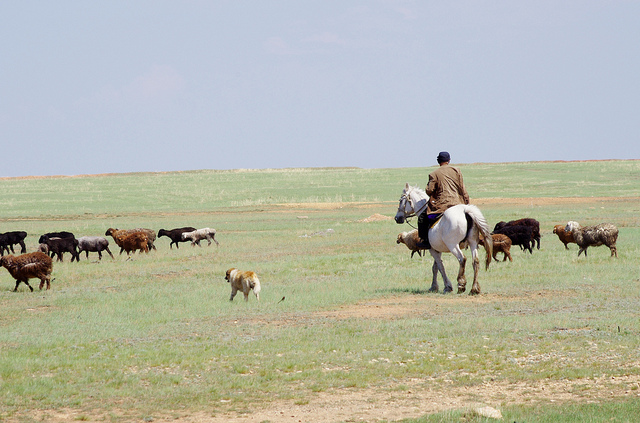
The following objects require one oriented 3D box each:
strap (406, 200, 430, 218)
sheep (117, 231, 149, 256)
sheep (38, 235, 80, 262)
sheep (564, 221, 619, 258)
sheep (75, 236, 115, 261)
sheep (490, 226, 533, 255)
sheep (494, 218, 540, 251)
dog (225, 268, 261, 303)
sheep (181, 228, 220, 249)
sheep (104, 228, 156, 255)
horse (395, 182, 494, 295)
[{"bbox_3d":[3.964,-0.078,45.865,0.886,0.118,0.182,-42,17,20],"label":"strap"},{"bbox_3d":[-9.449,1.694,56.357,1.369,1.199,1.601,-3,0,11],"label":"sheep"},{"bbox_3d":[-12.793,1.916,54.308,2.077,1.325,0.595,-1,-2,5],"label":"sheep"},{"bbox_3d":[12.349,1.394,50.934,0.821,1.682,2.771,0,-2,-45],"label":"sheep"},{"bbox_3d":[-11.242,1.883,55.063,1.694,1.185,1.931,-3,0,-21],"label":"sheep"},{"bbox_3d":[8.940,1.384,52.609,2.536,1.302,0.652,4,1,-24],"label":"sheep"},{"bbox_3d":[9.694,1.184,54.680,2.593,1.383,0.660,-2,13,23],"label":"sheep"},{"bbox_3d":[-3.158,3.011,44.988,0.757,1.362,2.198,-7,4,-39],"label":"dog"},{"bbox_3d":[-6.553,1.496,59.422,2.075,1.030,1.414,-3,0,6],"label":"sheep"},{"bbox_3d":[-9.981,1.753,57.758,2.823,1.483,0.837,-1,-7,-31],"label":"sheep"},{"bbox_3d":[4.918,1.253,45.872,1.562,4.460,5.638,-2,3,-32],"label":"horse"}]
